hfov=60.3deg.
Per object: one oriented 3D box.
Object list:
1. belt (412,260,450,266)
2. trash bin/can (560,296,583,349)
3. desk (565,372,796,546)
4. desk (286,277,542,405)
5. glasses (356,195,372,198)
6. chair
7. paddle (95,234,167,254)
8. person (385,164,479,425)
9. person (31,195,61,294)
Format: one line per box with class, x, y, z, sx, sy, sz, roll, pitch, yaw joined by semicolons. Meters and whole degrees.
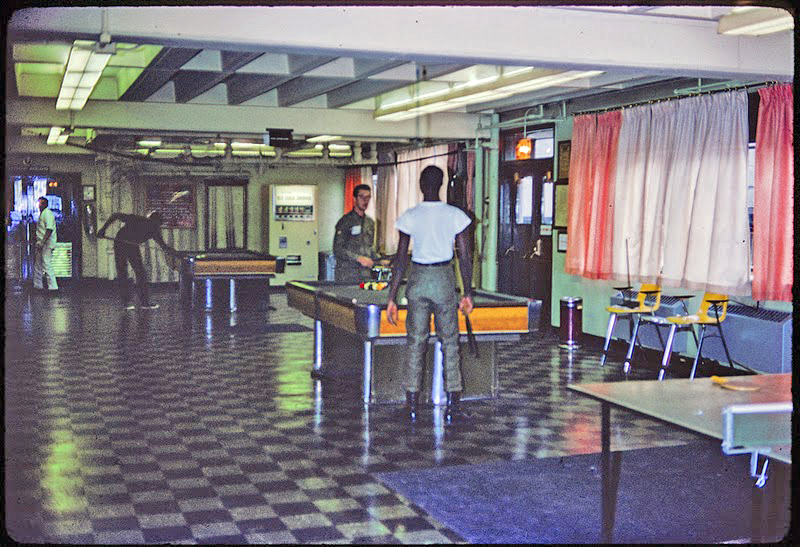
belt;0.292;-0.099;6.536;0.334;0.050;0.091;-1;6;-8
trash bin/can;2.529;0.732;10.218;0.310;0.731;0.395;2;6;12
desk;1.820;0.887;4.182;1.107;0.468;1.055;6;8;41
desk;0.150;0.738;7.334;1.526;0.878;2.302;0;4;-24
glasses;-0.426;-0.939;8.396;0.197;0.058;0.107;-5;8;-40
chair;3.420;0.748;8.721;0.479;0.801;1.233;2;-1;-15
paddle;-5.223;-0.696;13.738;0.997;0.316;0.652;-5;15;5
person;0.284;0.191;6.705;0.835;2.477;0.439;1;6;5
person;-8.189;-0.655;15.840;0.476;2.218;0.893;-3;7;-28
